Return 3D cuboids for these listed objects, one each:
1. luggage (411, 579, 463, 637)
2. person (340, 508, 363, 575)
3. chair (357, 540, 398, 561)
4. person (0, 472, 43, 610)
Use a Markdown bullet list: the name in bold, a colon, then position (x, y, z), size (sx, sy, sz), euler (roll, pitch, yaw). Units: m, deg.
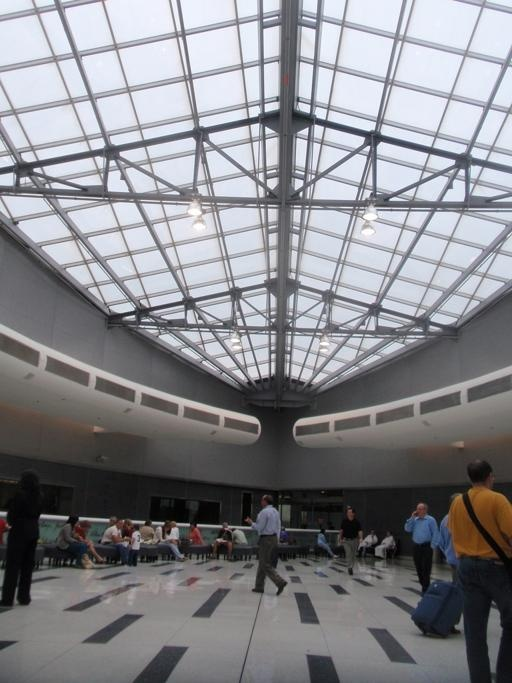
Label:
- **luggage**: position (1.710, 2.493, 4.206), size (0.244, 0.466, 0.284), euler (40, -29, -9)
- **person**: position (2.296, 4.842, 10.826), size (0.529, 1.416, 0.531), euler (-4, -17, 30)
- **chair**: position (5.362, 9.111, 19.863), size (1.335, 1.002, 2.022), euler (4, -19, -12)
- **person**: position (-2.472, 2.090, 4.721), size (0.322, 1.347, 0.579), euler (8, -20, -22)
